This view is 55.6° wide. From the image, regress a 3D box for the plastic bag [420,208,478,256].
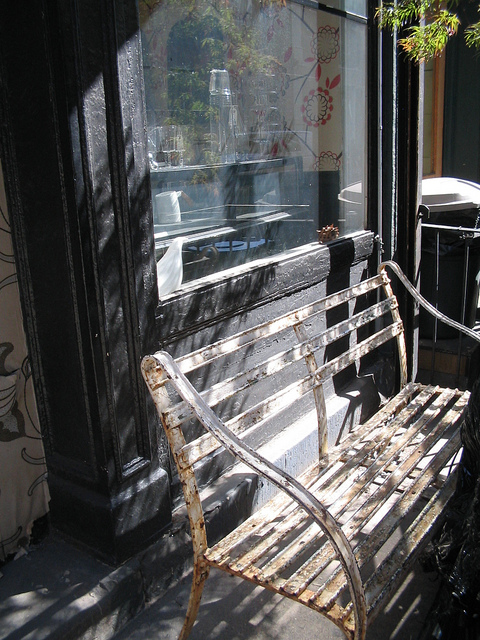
[{"bbox_3d":[1.774,-0.728,3.830,0.524,0.320,0.366,-4,19,3],"label":"plastic bag"}]
